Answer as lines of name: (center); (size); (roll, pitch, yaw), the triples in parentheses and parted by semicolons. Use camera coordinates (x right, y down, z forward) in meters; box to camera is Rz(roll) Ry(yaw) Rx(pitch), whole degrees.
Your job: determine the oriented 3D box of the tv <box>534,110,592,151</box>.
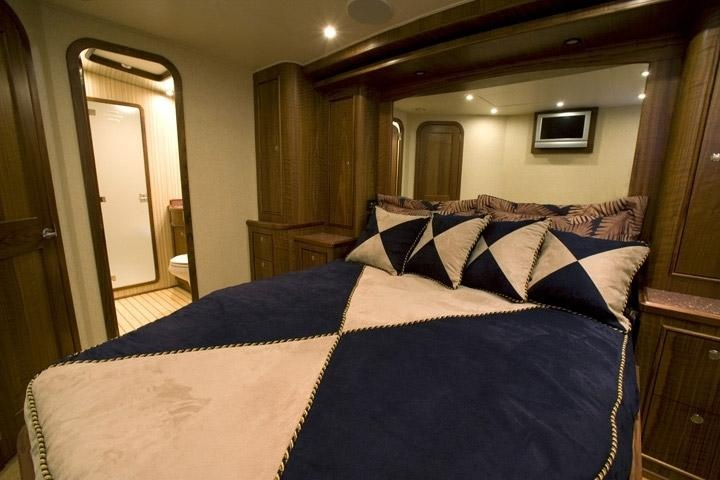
tv: (1.664, -0.894, 4.040); (0.378, 0.287, 0.038); (6, 5, 29)
